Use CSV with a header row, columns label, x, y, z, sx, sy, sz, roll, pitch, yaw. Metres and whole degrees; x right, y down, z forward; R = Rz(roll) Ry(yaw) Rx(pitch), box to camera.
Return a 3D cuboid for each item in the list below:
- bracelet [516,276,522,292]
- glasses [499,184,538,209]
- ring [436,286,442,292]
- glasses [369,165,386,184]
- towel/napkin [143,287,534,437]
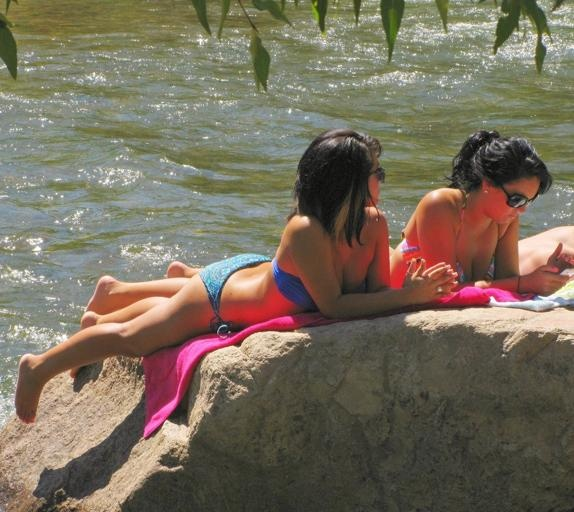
label,x,y,z,sx,sy,sz,roll,pitch,yaw
bracelet,1.657,0.210,9.117,0.021,0.078,0.085,10,11,4
glasses,1.624,-0.444,8.917,0.187,0.063,0.186,8,34,-52
ring,1.023,0.231,8.527,0.029,0.026,0.025,2,11,-4
glasses,0.629,-0.558,8.774,0.113,0.113,0.036,14,32,-23
towel/napkin,0.071,0.722,8.657,1.985,0.668,1.231,-18,4,11
